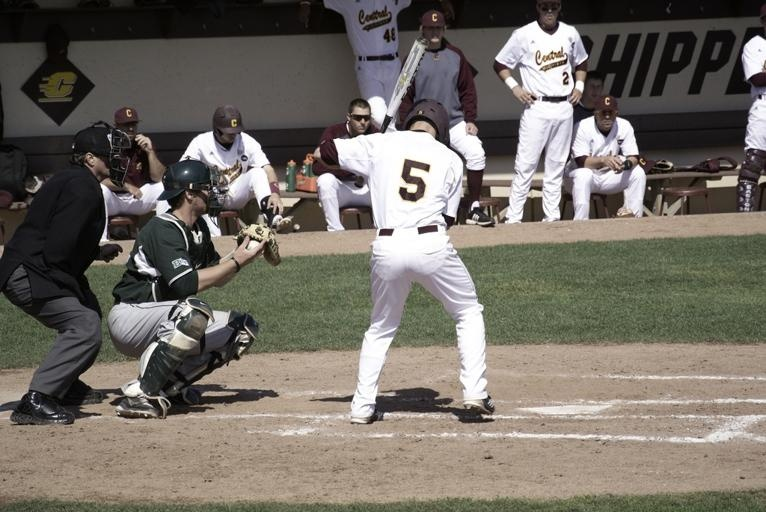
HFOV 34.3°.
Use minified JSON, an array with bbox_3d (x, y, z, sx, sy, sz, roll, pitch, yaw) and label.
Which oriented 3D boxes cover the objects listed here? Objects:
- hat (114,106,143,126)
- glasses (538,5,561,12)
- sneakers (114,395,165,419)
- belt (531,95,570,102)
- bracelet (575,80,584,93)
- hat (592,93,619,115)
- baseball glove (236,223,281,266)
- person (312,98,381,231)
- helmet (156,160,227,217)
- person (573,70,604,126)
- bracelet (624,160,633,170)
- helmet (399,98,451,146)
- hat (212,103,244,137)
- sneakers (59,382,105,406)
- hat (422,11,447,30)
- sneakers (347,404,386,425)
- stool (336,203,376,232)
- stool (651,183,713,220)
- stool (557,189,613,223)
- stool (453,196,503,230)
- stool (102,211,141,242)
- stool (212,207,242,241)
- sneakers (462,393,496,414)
[{"bbox_3d":[-3.437,-1.862,16.523,0.260,0.200,0.345,-7,11,-32],"label":"hat"},{"bbox_3d":[2.134,-3.196,16.015,0.268,0.102,0.233,2,8,1],"label":"glasses"},{"bbox_3d":[-2.245,1.410,11.679,0.487,0.241,0.190,1,3,3],"label":"sneakers"},{"bbox_3d":[2.171,-2.028,16.058,0.419,0.082,0.063,1,8,-5],"label":"belt"},{"bbox_3d":[2.549,-2.206,16.149,0.131,0.144,0.142,-3,-12,13],"label":"bracelet"},{"bbox_3d":[2.951,-2.012,16.448,0.283,0.203,0.335,3,8,7],"label":"hat"},{"bbox_3d":[-1.144,-0.091,11.917,0.334,0.441,0.228,22,43,9],"label":"baseball glove"},{"bbox_3d":[-0.304,-1.124,16.421,1.121,1.875,1.109,1,10,2],"label":"person"},{"bbox_3d":[-1.840,-0.663,11.845,0.618,0.522,0.483,-2,5,-12],"label":"helmet"},{"bbox_3d":[2.889,-2.221,17.173,0.540,0.741,0.268,5,13,-23],"label":"person"},{"bbox_3d":[3.219,-1.206,16.375,0.095,0.133,0.131,-1,-1,34],"label":"bracelet"},{"bbox_3d":[0.462,-1.316,11.845,0.348,0.457,0.443,14,-27,15],"label":"helmet"},{"bbox_3d":[-2.015,-1.726,15.903,0.324,0.236,0.418,-19,50,-29],"label":"hat"},{"bbox_3d":[-2.915,1.336,12.119,0.449,0.214,0.170,-2,7,-12],"label":"sneakers"},{"bbox_3d":[0.656,-3.020,15.862,0.340,0.215,0.249,-1,9,-19],"label":"hat"},{"bbox_3d":[-0.144,1.510,11.640,0.133,0.155,0.369,17,20,41],"label":"sneakers"},{"bbox_3d":[-0.363,-0.521,16.678,0.367,0.332,0.350,-1,5,-3],"label":"stool"},{"bbox_3d":[4.238,-0.801,17.765,0.685,0.717,0.644,-6,6,-43],"label":"stool"},{"bbox_3d":[2.958,-0.758,18.248,0.693,0.810,0.519,-2,15,-3],"label":"stool"},{"bbox_3d":[1.396,-0.631,17.289,0.321,0.397,0.936,-1,1,-15],"label":"stool"},{"bbox_3d":[-3.413,-0.412,16.594,0.466,0.592,0.480,1,-5,-10],"label":"stool"},{"bbox_3d":[-2.240,-0.459,17.442,0.473,0.515,0.466,-1,6,-6],"label":"stool"},{"bbox_3d":[0.903,1.374,11.556,0.350,0.175,0.139,24,-15,-41],"label":"sneakers"}]
